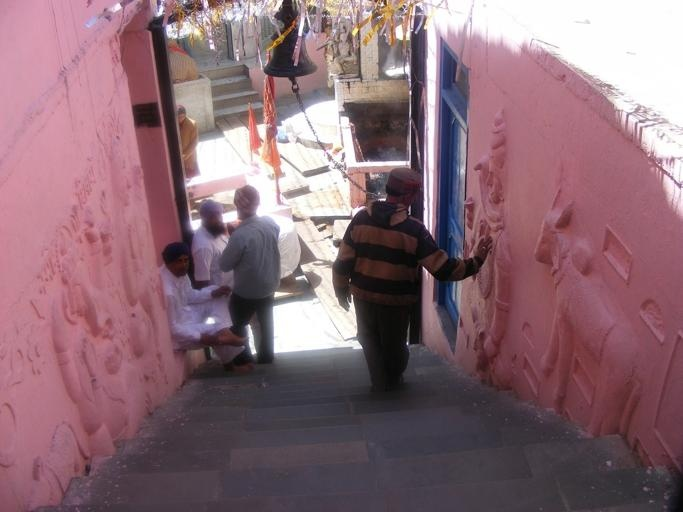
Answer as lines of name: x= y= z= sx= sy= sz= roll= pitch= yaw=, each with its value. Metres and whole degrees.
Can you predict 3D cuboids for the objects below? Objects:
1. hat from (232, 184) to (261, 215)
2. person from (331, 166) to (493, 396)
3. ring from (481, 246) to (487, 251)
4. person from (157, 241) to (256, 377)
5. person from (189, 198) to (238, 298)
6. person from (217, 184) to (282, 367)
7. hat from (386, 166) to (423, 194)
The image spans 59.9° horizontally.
hat: x=-0.811 y=-0.453 z=5.056 sx=0.185 sy=0.255 sz=0.332 roll=-2 pitch=-21 yaw=-15
person: x=0.466 y=0.221 z=4.183 sx=0.991 sy=1.688 sz=0.511 roll=14 pitch=28 yaw=23
ring: x=0.893 y=-0.047 z=3.677 sx=0.024 sy=0.028 sz=0.048 roll=2 pitch=4 yaw=16
person: x=-1.140 y=0.436 z=4.991 sx=0.604 sy=0.960 sz=0.609 roll=-4 pitch=49 yaw=-4
person: x=-1.217 y=-0.043 z=5.598 sx=0.315 sy=1.181 sz=0.540 roll=3 pitch=39 yaw=6
person: x=-0.819 y=0.225 z=5.386 sx=0.563 sy=1.775 sz=0.493 roll=-19 pitch=36 yaw=-37
hat: x=0.411 y=-0.491 z=3.908 sx=0.227 sy=0.167 sz=0.145 roll=-5 pitch=22 yaw=4
